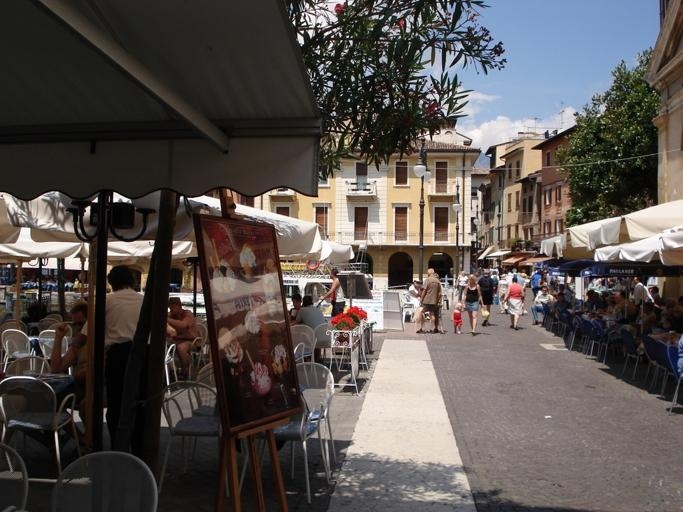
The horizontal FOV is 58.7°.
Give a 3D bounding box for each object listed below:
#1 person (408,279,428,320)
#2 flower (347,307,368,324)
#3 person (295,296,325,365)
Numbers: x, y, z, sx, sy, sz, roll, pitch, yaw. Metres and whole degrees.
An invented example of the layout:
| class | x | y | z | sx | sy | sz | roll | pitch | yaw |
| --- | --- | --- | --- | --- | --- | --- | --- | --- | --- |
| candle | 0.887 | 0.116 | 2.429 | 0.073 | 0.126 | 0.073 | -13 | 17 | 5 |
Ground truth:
| class | x | y | z | sx | sy | sz | roll | pitch | yaw |
| --- | --- | --- | --- | --- | --- | --- | --- | --- | --- |
| person | 3.209 | 1.803 | 26.480 | 0.490 | 1.569 | 0.530 | -3 | 19 | -12 |
| flower | 0.307 | 1.217 | 12.577 | 0.308 | 0.276 | 0.341 | 3 | -3 | -1 |
| person | -0.627 | 1.296 | 12.095 | 0.756 | 1.374 | 0.875 | 1 | 3 | 7 |
